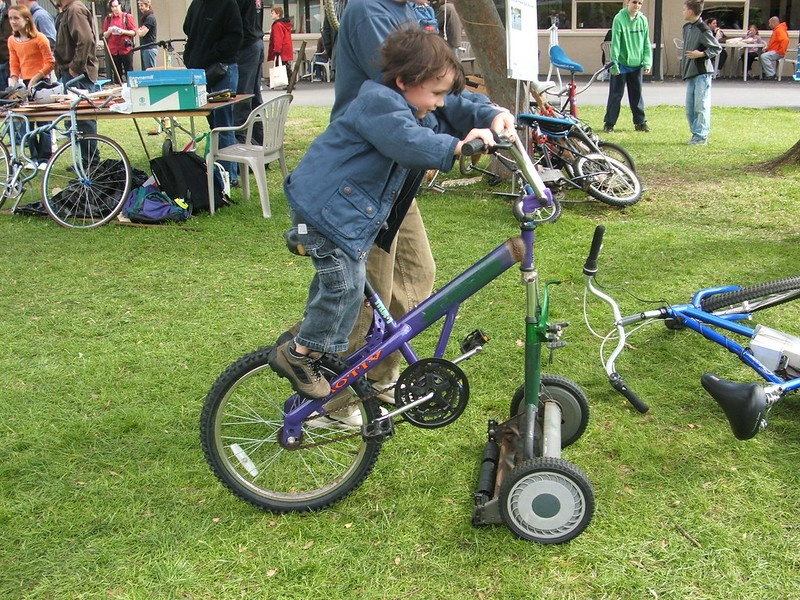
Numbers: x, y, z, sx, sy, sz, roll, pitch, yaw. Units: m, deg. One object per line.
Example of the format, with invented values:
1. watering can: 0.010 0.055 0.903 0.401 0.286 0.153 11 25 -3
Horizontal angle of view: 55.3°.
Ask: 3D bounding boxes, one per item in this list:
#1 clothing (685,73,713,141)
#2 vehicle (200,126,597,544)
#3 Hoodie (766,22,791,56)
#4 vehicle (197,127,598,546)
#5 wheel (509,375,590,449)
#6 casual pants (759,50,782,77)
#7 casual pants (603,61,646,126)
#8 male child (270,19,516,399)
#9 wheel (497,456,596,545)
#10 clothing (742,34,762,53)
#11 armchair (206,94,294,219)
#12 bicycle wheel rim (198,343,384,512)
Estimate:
1. clothing: 4.386 -2.834 11.161 0.339 0.962 0.678 4 18 19
2. vehicle: 0.007 0.193 3.736 2.003 1.969 0.900 -1 25 -1
3. Hoodie: 10.180 -7.020 20.455 0.524 0.846 0.775 6 19 24
4. vehicle: 0.002 0.208 3.748 1.924 1.987 0.870 -1 24 -1
5. wheel: 0.798 0.584 4.046 0.384 0.418 0.121 10 21 8
6. casual pants: 10.071 -6.446 20.702 0.569 0.784 0.572 0 15 11
7. casual pants: 3.711 -3.395 12.295 0.668 1.588 0.371 5 61 15
8. male child: -0.068 -0.413 3.713 1.156 1.733 0.615 -1 17 3
9. wheel: 0.704 0.992 3.681 0.373 0.396 0.066 -3 11 5
10. clothing: 9.731 -7.007 20.872 0.376 0.431 0.625 1 25 -1
11. armchair: -1.579 -1.547 8.206 0.883 1.287 0.862 1 13 40
12. bicycle wheel rim: -0.543 0.702 3.980 0.689 0.748 0.139 11 4 -1
